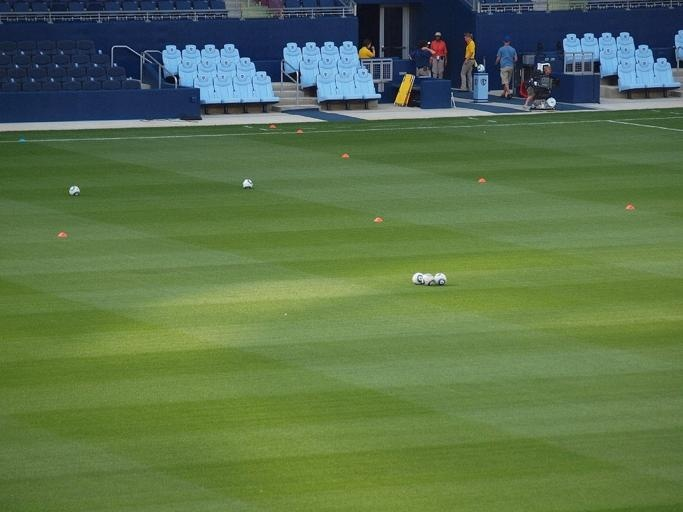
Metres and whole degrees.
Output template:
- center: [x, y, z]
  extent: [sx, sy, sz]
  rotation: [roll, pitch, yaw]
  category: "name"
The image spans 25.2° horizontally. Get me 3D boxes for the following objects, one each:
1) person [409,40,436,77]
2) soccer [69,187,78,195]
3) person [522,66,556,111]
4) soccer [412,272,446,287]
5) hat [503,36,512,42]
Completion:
- center: [2.365, -5.826, 45.072]
  extent: [0.585, 1.015, 1.013]
  rotation: [2, 14, 0]
  category: "person"
- center: [-4.831, -1.170, 27.456]
  extent: [0.124, 0.117, 0.104]
  rotation: [-6, 48, -22]
  category: "soccer"
- center: [5.216, -4.617, 41.347]
  extent: [1.249, 1.393, 0.937]
  rotation: [1, -1, -7]
  category: "person"
- center: [1.269, 0.343, 22.004]
  extent: [0.324, 0.122, 0.222]
  rotation: [2, 8, 0]
  category: "soccer"
- center: [4.956, -6.438, 45.530]
  extent: [0.233, 0.159, 0.322]
  rotation: [0, 26, 3]
  category: "hat"
